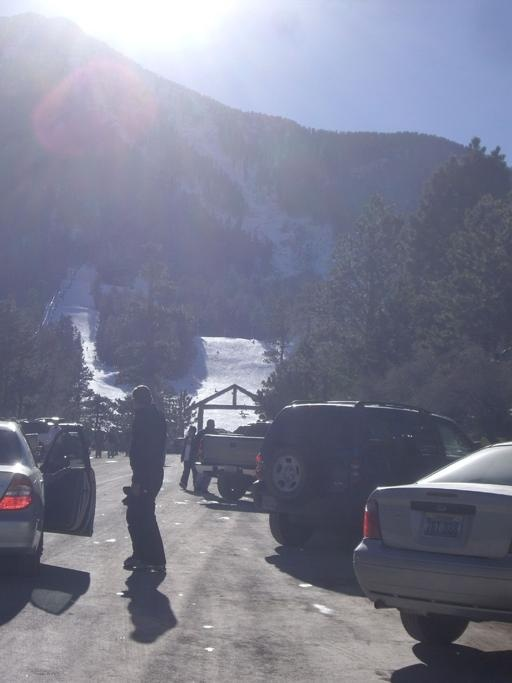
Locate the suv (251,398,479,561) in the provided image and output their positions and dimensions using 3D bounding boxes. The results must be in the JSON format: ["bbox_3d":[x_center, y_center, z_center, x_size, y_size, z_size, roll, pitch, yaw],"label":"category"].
[{"bbox_3d":[1.507,1.601,9.042,1.541,1.876,2.563,-2,-1,43],"label":"suv"}]

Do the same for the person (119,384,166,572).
[{"bbox_3d":[-1.176,1.464,7.337,0.470,1.930,0.827,3,-3,-8],"label":"person"}]

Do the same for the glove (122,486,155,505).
[{"bbox_3d":[-1.248,1.626,7.186,0.267,0.241,0.134,1,-7,-4],"label":"glove"}]
